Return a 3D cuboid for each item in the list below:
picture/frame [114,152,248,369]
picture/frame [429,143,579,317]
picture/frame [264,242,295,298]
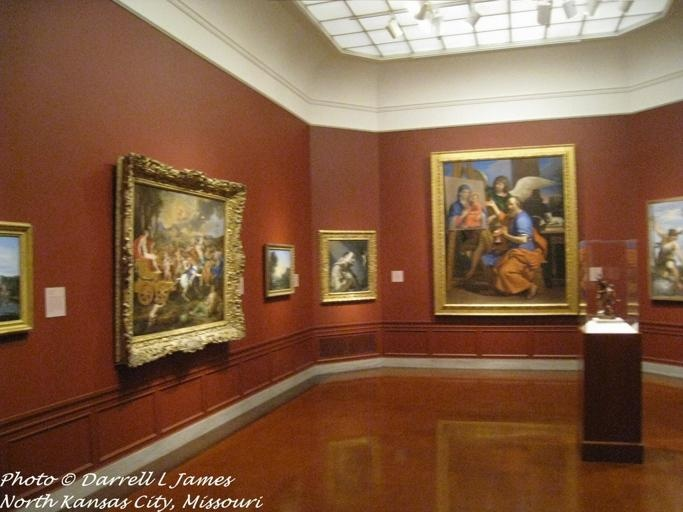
[{"bbox_3d":[-2.693,0.022,8.698,0.423,3.347,2.538,3,8,32],"label":"picture/frame"},{"bbox_3d":[4.228,-0.604,13.128,4.293,5.271,0.235,-1,-1,6],"label":"picture/frame"},{"bbox_3d":[-1.400,0.311,11.368,0.093,1.155,1.241,-2,-2,24],"label":"picture/frame"}]
